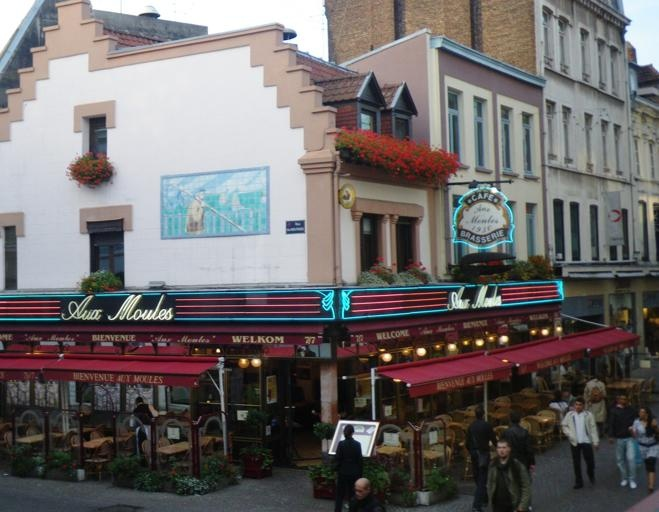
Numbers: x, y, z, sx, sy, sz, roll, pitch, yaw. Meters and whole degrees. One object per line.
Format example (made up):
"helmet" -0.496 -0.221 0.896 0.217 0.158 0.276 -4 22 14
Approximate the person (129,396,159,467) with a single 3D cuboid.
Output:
"person" -5.494 5.234 36.318 0.760 1.949 0.664 -4 -1 -9

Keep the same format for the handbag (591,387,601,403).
"handbag" 8.235 4.298 37.470 0.303 0.391 0.408 -1 -18 3

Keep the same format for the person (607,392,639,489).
"person" 8.267 5.110 33.732 0.831 2.632 0.951 0 2 41

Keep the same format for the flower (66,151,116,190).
"flower" -7.479 -2.773 38.758 1.165 1.193 1.232 -1 1 16

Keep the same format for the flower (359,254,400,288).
"flower" 1.536 0.461 36.917 0.909 0.683 0.947 1 3 14

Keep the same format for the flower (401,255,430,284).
"flower" 2.744 0.447 38.289 0.750 0.905 0.801 -12 -11 35

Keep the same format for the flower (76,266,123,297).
"flower" -7.019 0.825 38.057 1.358 0.876 0.961 2 -9 -27

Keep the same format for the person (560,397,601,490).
"person" 7.077 5.248 34.130 1.045 2.509 0.750 -2 -3 16
